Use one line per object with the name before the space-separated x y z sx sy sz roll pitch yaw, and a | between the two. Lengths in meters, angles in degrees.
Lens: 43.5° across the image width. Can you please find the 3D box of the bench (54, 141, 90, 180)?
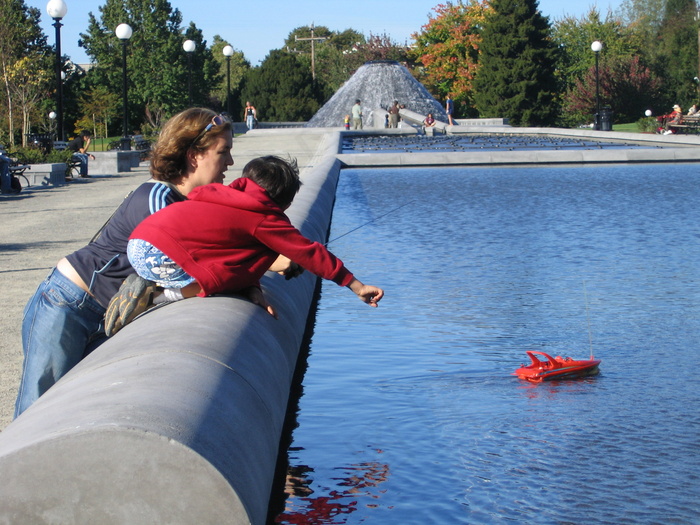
bench | -7.175 -2.745 22.765 0.977 1.058 0.775 0 5 -26

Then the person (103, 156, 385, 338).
person | -0.589 -0.110 4.508 1.444 0.741 0.989 -9 21 -43

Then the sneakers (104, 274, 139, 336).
sneakers | -1.147 0.204 4.415 0.086 0.293 0.161 35 -25 -25

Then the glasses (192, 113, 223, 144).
glasses | -0.748 -0.680 4.553 0.149 0.044 0.148 -37 8 8
